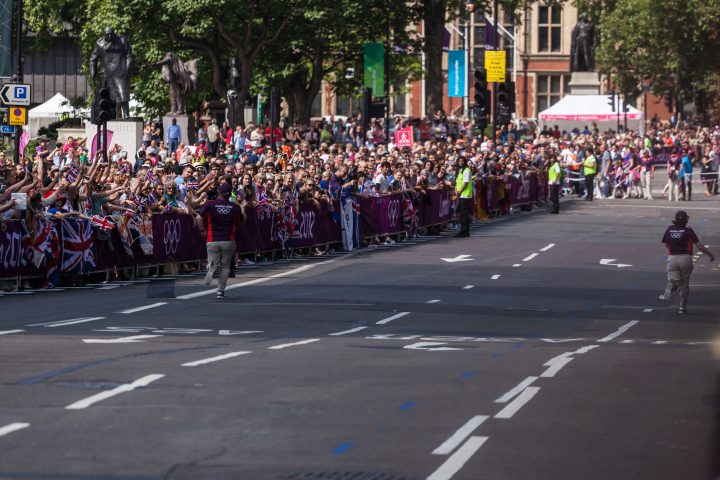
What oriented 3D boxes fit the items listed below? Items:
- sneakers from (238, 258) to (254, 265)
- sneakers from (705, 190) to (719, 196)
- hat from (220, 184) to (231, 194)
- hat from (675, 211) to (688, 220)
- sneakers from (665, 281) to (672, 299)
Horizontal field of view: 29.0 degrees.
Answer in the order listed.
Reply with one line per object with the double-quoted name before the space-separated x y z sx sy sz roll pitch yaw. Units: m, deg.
"sneakers" -2.804 0.544 34.127 0.279 0.116 0.185 3 -1 -16
"sneakers" 15.224 -2.008 60.259 0.680 0.282 0.214 0 5 26
"hat" -2.800 -1.061 28.933 0.199 0.181 0.197 17 10 11
"hat" 6.726 -0.508 29.072 0.187 0.133 0.265 6 9 36
"sneakers" 6.490 1.079 29.287 0.141 0.410 0.184 5 -9 -3
